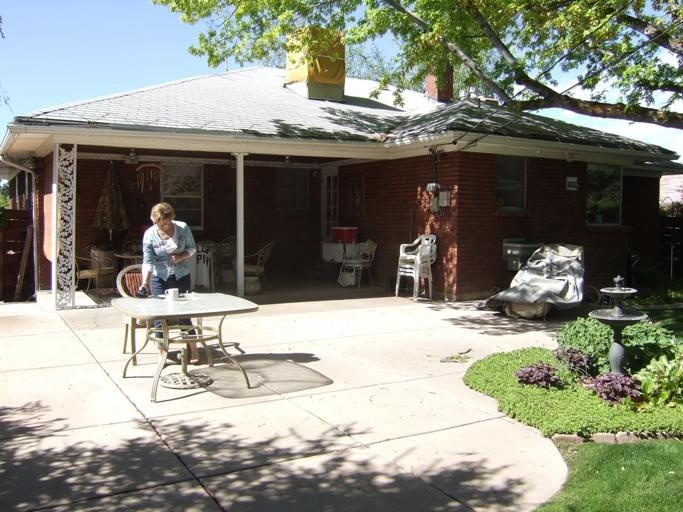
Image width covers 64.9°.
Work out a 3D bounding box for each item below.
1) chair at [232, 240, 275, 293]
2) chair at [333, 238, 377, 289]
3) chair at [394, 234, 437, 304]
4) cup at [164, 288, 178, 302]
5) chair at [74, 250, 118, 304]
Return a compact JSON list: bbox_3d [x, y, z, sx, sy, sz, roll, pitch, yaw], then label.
[{"bbox_3d":[-2.072,0.191,13.188,1.181,1.496,1.073,5,2,-6],"label":"chair"},{"bbox_3d":[0.549,0.211,13.489,1.108,1.403,1.050,1,0,-34],"label":"chair"},{"bbox_3d":[1.562,0.232,11.745,0.839,1.283,0.953,1,0,-25],"label":"chair"},{"bbox_3d":[-1.890,0.430,5.940,0.112,0.124,0.174,0,0,-10],"label":"cup"},{"bbox_3d":[-5.469,0.339,11.987,0.841,1.220,2.189,1,0,-27],"label":"chair"}]
